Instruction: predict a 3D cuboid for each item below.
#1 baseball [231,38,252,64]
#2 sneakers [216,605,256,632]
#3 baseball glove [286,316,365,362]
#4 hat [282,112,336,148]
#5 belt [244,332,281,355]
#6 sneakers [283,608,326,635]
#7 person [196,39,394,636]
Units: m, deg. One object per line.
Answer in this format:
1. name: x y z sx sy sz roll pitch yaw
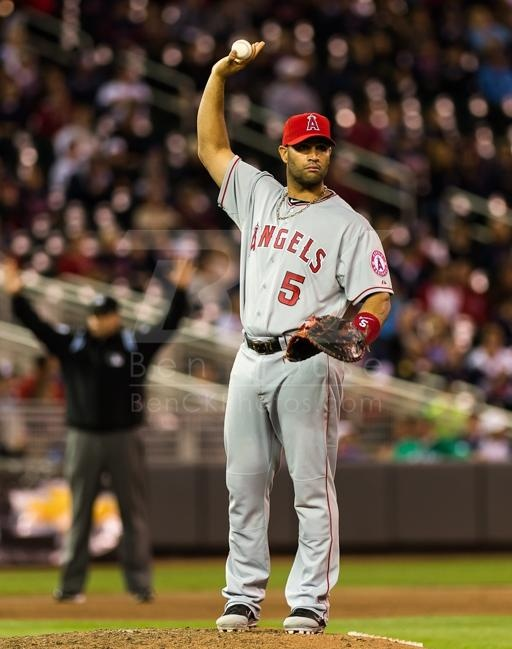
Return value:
1. baseball: -0.050 -0.846 3.538 0.071 0.064 0.040 7 -4 4
2. sneakers: -0.062 0.860 3.356 0.099 0.077 0.140 0 -3 14
3. baseball glove: 0.202 0.046 3.253 0.139 0.069 0.187 17 -12 -33
4. hat: 0.147 -0.603 3.520 0.104 0.068 0.133 1 -3 -11
5. belt: 0.017 0.065 3.430 0.047 0.057 0.134 2 -3 -43
6. sneakers: 0.138 0.859 3.306 0.115 0.070 0.121 0 -2 4
7. person: 0.094 0.014 3.479 0.632 1.774 0.374 0 -2 11
